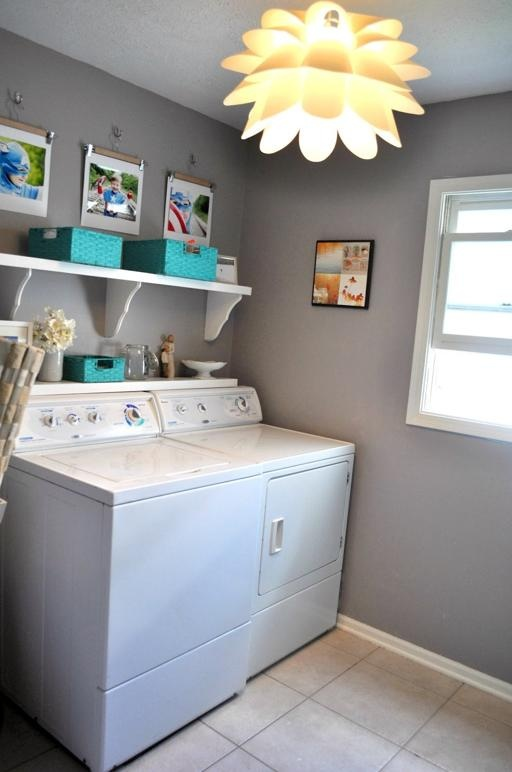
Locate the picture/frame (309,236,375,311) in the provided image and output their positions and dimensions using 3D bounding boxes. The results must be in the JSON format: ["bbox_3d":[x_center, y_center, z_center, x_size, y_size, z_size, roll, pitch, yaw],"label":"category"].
[{"bbox_3d":[0.414,-0.529,2.454,0.031,0.332,0.320,-2,13,-44],"label":"picture/frame"}]

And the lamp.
[{"bbox_3d":[0.136,-0.670,1.131,0.450,0.319,0.305,5,-1,19],"label":"lamp"}]

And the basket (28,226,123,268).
[{"bbox_3d":[-0.681,-0.507,1.922,0.342,0.153,0.235,6,-1,-20],"label":"basket"}]
